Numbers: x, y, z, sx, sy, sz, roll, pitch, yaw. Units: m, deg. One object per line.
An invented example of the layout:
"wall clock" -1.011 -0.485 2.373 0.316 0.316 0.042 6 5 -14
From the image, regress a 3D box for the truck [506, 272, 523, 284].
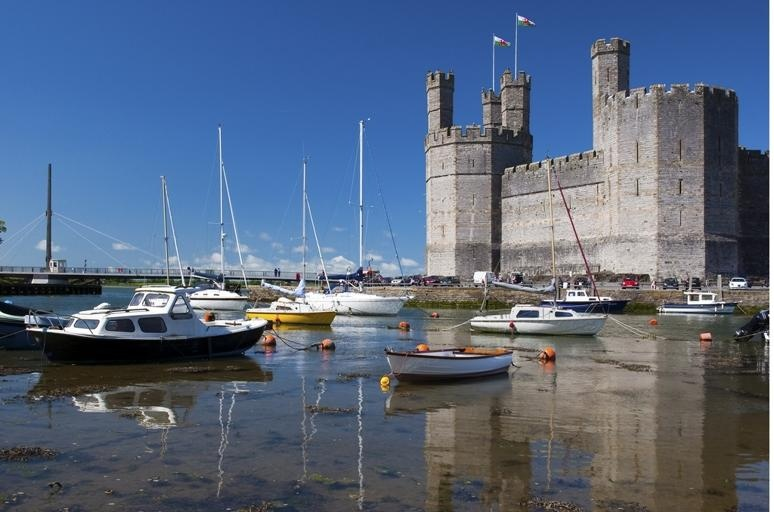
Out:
"truck" 9.857 1.786 71.260 1.187 0.855 1.136 -3 -5 37

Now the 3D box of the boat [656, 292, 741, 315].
"boat" 20.032 3.065 59.099 4.449 1.403 2.717 -1 -1 20
